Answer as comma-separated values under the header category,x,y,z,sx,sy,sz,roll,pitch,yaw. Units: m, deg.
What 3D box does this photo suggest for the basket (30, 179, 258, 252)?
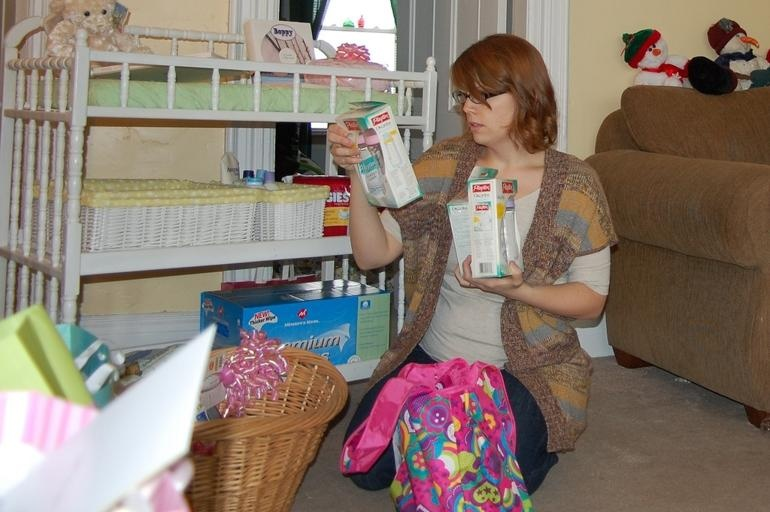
category,x,y,z,sx,sy,sz,roll,pitch,yaw
basket,-0.686,-0.117,1.772,0.423,0.141,0.319,-1,3,-33

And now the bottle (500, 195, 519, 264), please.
category,x,y,z,sx,sy,sz,roll,pitch,yaw
bottle,0.311,-0.060,1.369,0.041,0.168,0.069,6,12,24

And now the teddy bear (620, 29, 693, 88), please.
category,x,y,z,sx,sy,sz,roll,pitch,yaw
teddy bear,1.217,-0.878,2.517,0.345,0.239,0.174,-4,12,-23

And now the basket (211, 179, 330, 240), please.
category,x,y,z,sx,sy,sz,roll,pitch,yaw
basket,-0.330,-0.168,1.886,0.202,0.131,0.271,-5,11,-33

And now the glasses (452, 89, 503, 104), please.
category,x,y,z,sx,sy,sz,roll,pitch,yaw
glasses,0.226,-0.416,1.485,0.079,0.036,0.166,-6,14,-33
